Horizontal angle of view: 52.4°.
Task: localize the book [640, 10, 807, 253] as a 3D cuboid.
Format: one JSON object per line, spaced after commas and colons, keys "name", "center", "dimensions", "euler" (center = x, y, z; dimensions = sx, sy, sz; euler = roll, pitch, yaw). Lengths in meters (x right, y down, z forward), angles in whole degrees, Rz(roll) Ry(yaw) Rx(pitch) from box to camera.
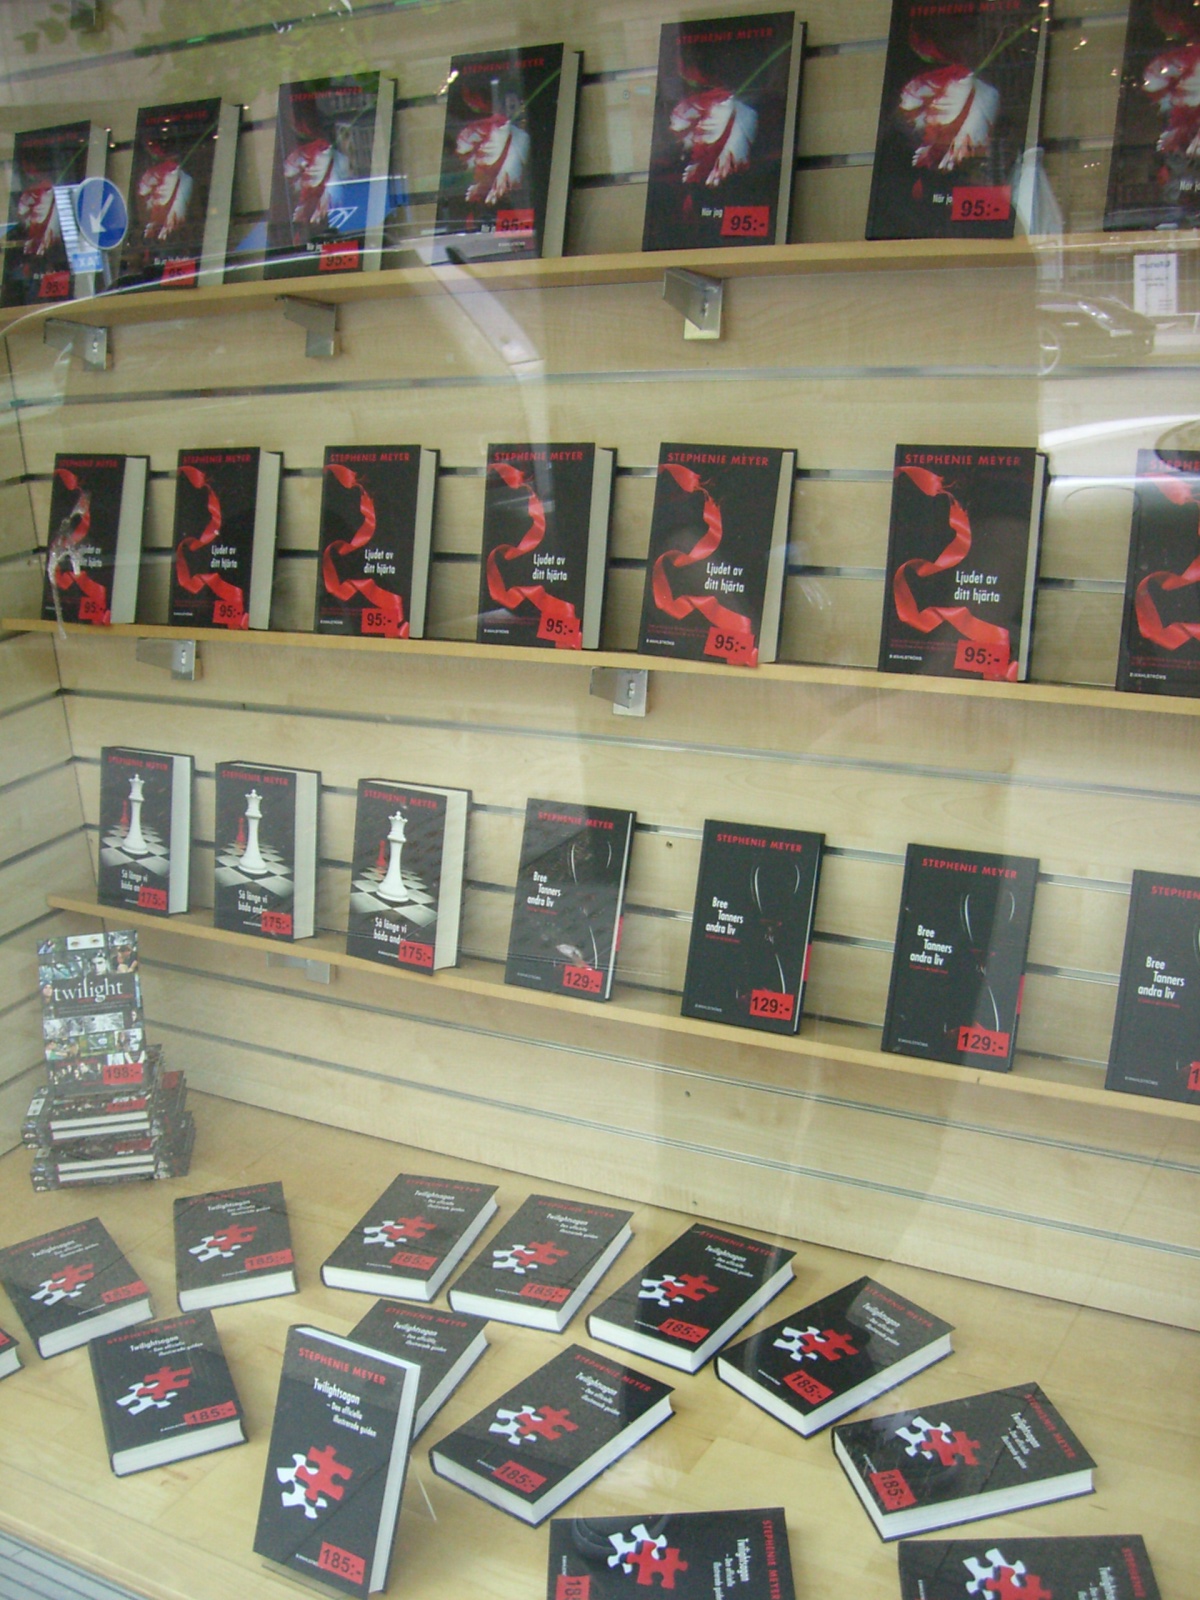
{"name": "book", "center": [0.089, -0.468, 0.839], "dimensions": [0.143, 0.179, 0.020], "euler": [7, 15, 20]}
